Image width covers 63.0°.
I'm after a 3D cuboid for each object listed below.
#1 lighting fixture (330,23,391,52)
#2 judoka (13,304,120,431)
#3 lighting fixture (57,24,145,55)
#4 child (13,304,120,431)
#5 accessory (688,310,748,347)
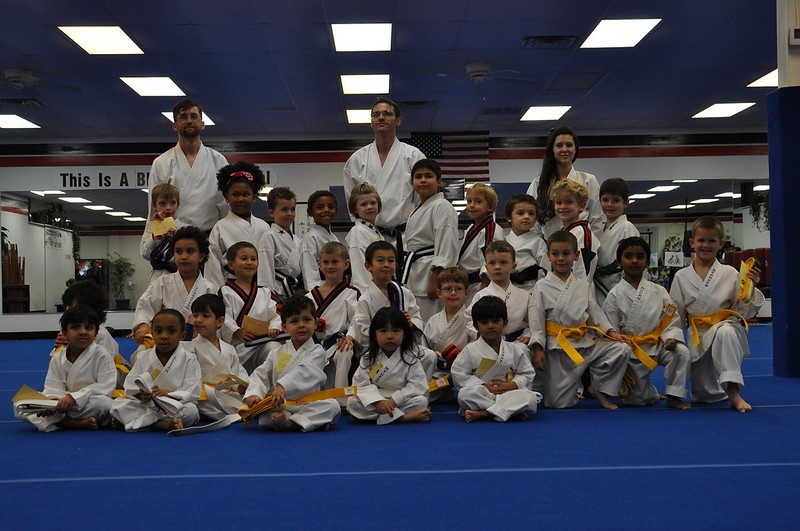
[{"bbox_3d":[-0.641,-3.883,11.094,0.980,0.279,0.905,-1,7,0],"label":"lighting fixture"},{"bbox_3d":[-3.159,0.947,6.103,0.897,1.060,0.775,-2,1,-18],"label":"judoka"},{"bbox_3d":[-5.030,-3.803,11.013,1.033,0.291,0.876,-1,7,0],"label":"lighting fixture"},{"bbox_3d":[-3.124,0.952,6.062,0.887,1.057,0.788,-2,1,-36],"label":"child"},{"bbox_3d":[3.200,0.611,6.478,0.515,0.233,0.545,-18,9,-5],"label":"accessory"}]
